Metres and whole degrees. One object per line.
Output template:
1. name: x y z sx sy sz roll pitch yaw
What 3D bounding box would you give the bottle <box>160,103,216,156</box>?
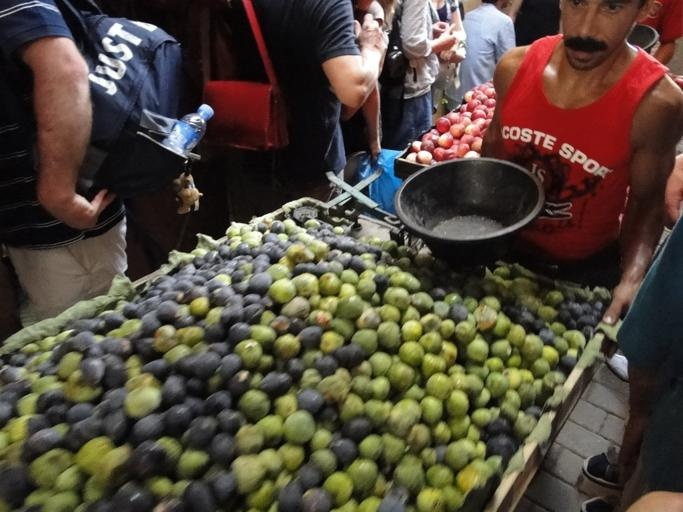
1. bottle: -1.043 -0.882 3.152 0.220 0.220 0.518 8 41 23

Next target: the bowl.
1. bowl: 0.700 -0.236 2.562 0.688 0.261 0.746 -4 39 4

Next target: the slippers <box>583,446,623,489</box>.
1. slippers: 1.651 1.376 3.019 0.083 0.187 0.234 56 14 2
